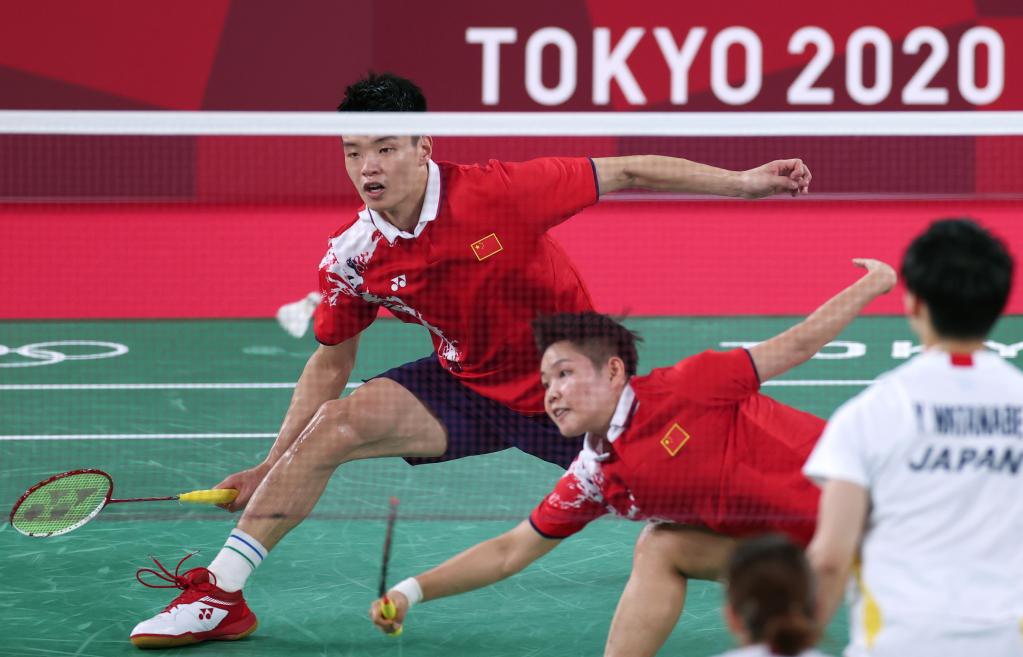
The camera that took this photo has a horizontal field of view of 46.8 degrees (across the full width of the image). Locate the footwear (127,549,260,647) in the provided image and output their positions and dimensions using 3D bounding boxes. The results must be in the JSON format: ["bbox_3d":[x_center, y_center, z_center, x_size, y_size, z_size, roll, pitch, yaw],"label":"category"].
[{"bbox_3d":[-1.562,1.376,5.849,0.597,0.429,0.190,4,0,-15],"label":"footwear"}]

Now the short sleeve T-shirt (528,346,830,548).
[{"bbox_3d":[0.788,0.508,5.443,1.054,0.397,0.973,-5,-22,-31],"label":"short sleeve T-shirt"}]

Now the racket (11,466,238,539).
[{"bbox_3d":[-2.005,0.889,6.024,1.208,0.117,0.432,-1,21,-4],"label":"racket"}]

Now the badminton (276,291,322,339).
[{"bbox_3d":[-1.694,-0.106,9.436,0.240,0.274,0.410,-42,3,-34],"label":"badminton"}]
